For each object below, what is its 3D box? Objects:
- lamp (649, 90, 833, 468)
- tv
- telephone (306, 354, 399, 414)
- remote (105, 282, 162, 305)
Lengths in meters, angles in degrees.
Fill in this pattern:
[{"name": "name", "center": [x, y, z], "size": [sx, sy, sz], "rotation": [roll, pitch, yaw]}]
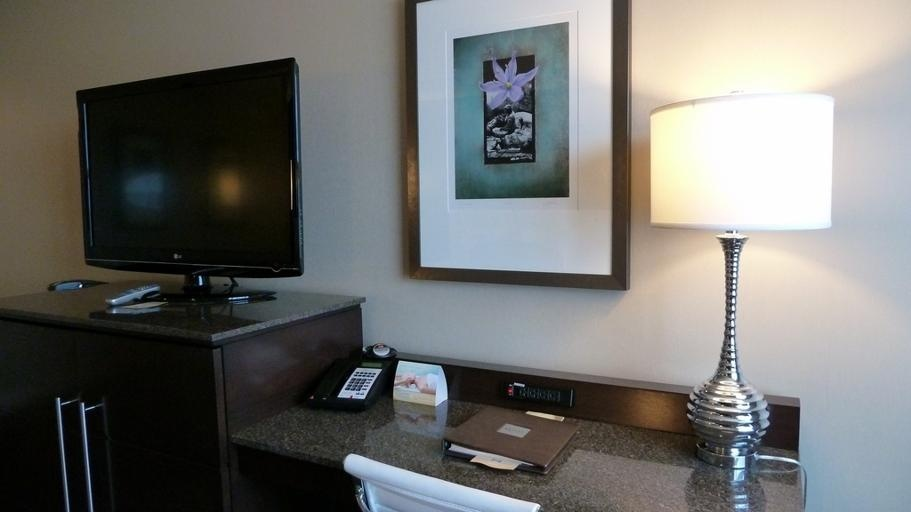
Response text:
[{"name": "lamp", "center": [1.073, 0.106, 2.468], "size": [0.629, 1.451, 0.239], "rotation": [1, 7, 23]}, {"name": "tv", "center": [-1.258, -0.366, 3.089], "size": [1.422, 0.938, 0.345], "rotation": [3, 9, 20]}, {"name": "telephone", "center": [-0.459, 0.552, 2.903], "size": [0.238, 0.108, 0.301], "rotation": [-1, 19, 21]}, {"name": "remote", "center": [-1.516, 0.175, 3.028], "size": [0.074, 0.060, 0.262], "rotation": [0, 8, 23]}]
